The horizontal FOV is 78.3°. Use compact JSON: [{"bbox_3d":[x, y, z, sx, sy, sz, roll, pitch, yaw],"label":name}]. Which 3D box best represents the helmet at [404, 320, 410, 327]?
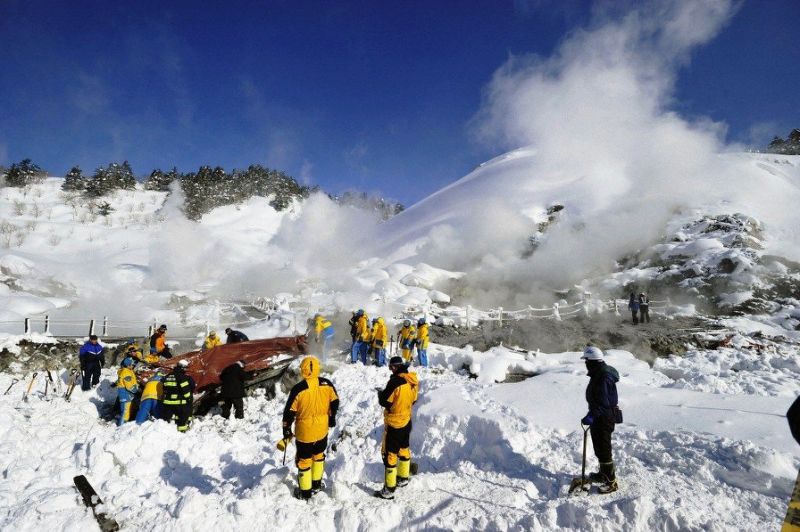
[{"bbox_3d":[0.361,2.556,22.053,0.318,0.316,0.246,-1,-9,1],"label":"helmet"}]

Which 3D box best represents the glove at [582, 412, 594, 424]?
[{"bbox_3d":[5.617,4.517,14.602,0.280,0.186,0.433,37,31,15],"label":"glove"}]

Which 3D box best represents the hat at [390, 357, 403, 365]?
[{"bbox_3d":[-0.131,2.857,14.910,0.279,0.117,0.280,-4,-4,31],"label":"hat"}]

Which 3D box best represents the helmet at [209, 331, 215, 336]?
[{"bbox_3d":[-8.390,3.019,21.999,0.199,0.217,0.346,3,-10,-20],"label":"helmet"}]

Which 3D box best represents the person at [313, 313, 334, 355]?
[{"bbox_3d":[-3.597,3.350,23.457,0.753,1.801,1.342,1,-9,-12],"label":"person"}]

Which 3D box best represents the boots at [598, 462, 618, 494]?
[{"bbox_3d":[6.047,6.080,14.278,0.559,0.861,0.285,-3,-9,13],"label":"boots"}]

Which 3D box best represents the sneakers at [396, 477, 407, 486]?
[{"bbox_3d":[0.079,6.390,14.569,0.412,0.269,0.132,8,-12,-11],"label":"sneakers"}]

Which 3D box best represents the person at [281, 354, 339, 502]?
[{"bbox_3d":[-2.649,4.701,14.463,1.578,4.045,0.778,2,-9,-13],"label":"person"}]

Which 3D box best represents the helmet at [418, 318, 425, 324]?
[{"bbox_3d":[1.019,2.507,22.278,0.353,0.275,0.559,-1,-9,2],"label":"helmet"}]

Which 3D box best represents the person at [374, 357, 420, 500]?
[{"bbox_3d":[-0.062,4.719,14.639,1.108,4.012,0.663,0,-9,-4],"label":"person"}]

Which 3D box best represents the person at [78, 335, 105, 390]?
[{"bbox_3d":[-13.137,4.075,20.946,0.828,2.330,0.840,4,-10,-27],"label":"person"}]

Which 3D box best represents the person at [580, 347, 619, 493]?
[{"bbox_3d":[6.021,4.487,14.632,1.026,4.117,0.962,-5,-10,26],"label":"person"}]

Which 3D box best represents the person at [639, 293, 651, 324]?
[{"bbox_3d":[15.353,2.625,30.969,0.466,1.860,0.785,-5,-10,25],"label":"person"}]
